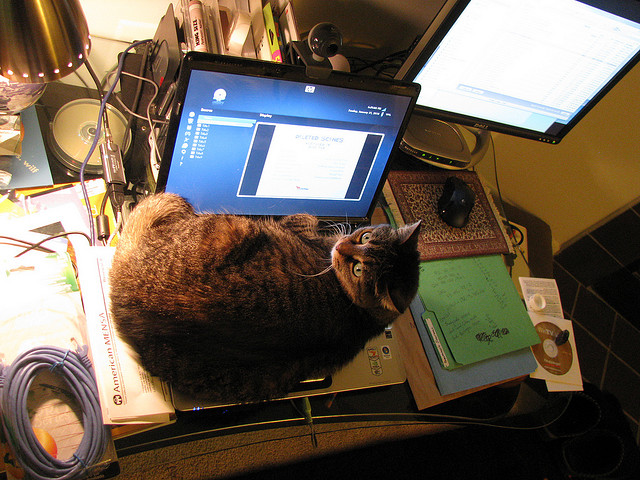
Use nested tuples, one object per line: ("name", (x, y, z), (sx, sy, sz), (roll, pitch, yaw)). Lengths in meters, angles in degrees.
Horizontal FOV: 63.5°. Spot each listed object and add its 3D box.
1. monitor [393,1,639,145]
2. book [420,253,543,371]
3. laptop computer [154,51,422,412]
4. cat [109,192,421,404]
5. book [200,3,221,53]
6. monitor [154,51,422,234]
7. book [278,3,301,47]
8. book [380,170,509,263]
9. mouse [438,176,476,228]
("monitor", (0.512, -0.470, 1.424), (0.568, 0.396, 0.155), (16, 58, -33))
("book", (0.424, 0.184, 1.447), (0.327, 0.072, 0.289), (-8, 56, -21))
("laptop computer", (-0.023, -0.013, 1.163), (0.668, 0.459, 0.577), (-2, 54, -27))
("cat", (-0.131, 0.107, 1.240), (0.702, 0.257, 0.568), (5, 54, -14))
("book", (-0.285, -0.558, 1.335), (0.039, 0.072, 0.190), (-6, 56, -19))
("monitor", (-0.161, -0.318, 1.436), (0.683, 0.450, 0.521), (-5, 39, -37))
("book", (-0.077, -0.558, 1.367), (0.035, 0.077, 0.148), (-5, 55, -18))
("book", (0.349, -0.079, 1.541), (0.322, 0.048, 0.313), (-11, 75, -21))
("mouse", (0.416, -0.108, 1.598), (0.098, 0.093, 0.153), (25, 62, -28))
